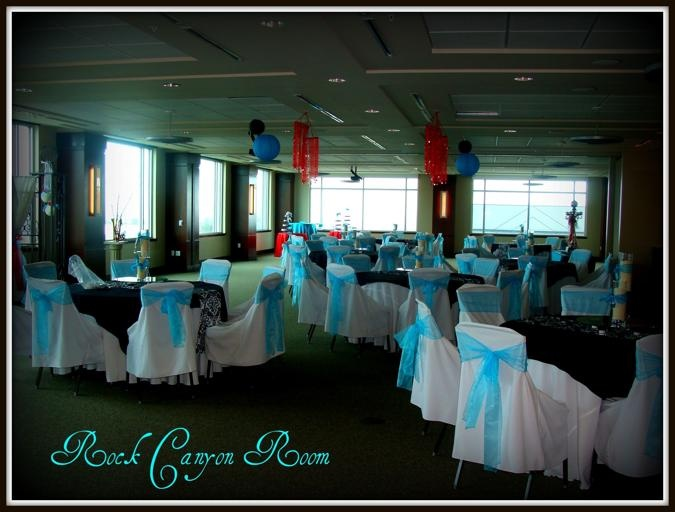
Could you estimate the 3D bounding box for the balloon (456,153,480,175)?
[{"bbox_3d":[2.154,-1.566,8.097,0.409,0.469,0.415,1,-3,10],"label":"balloon"}]
